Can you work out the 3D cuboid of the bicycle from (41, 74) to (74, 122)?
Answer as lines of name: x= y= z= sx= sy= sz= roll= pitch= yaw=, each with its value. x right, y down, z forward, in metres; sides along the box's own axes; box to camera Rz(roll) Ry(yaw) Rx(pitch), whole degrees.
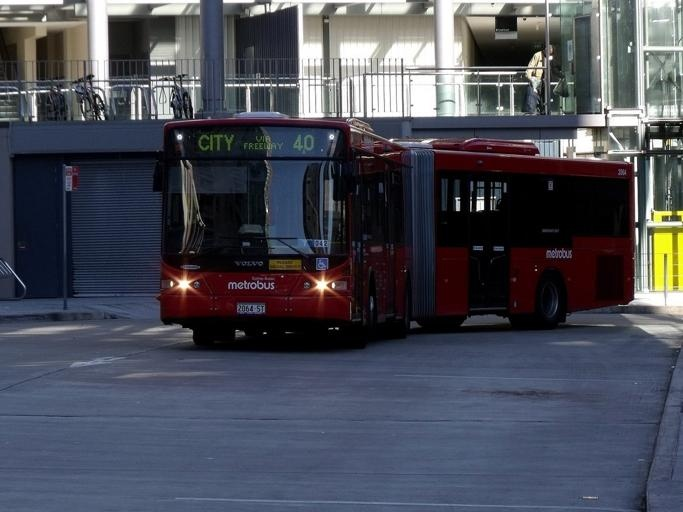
bicycle: x=-7.399 y=-3.968 z=39.785 sx=0.798 sy=1.038 sz=0.245 roll=2 pitch=6 yaw=30

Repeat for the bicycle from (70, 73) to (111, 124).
bicycle: x=-6.537 y=-3.927 z=39.831 sx=0.906 sy=0.364 sz=1.498 roll=10 pitch=-9 yaw=-8
